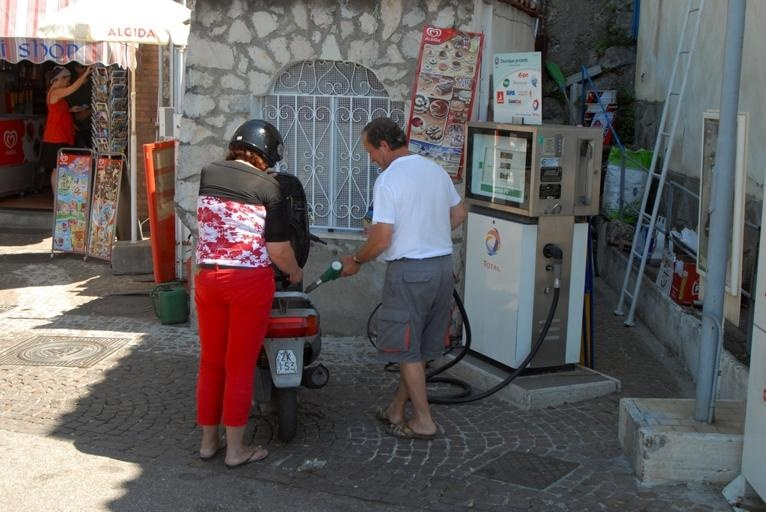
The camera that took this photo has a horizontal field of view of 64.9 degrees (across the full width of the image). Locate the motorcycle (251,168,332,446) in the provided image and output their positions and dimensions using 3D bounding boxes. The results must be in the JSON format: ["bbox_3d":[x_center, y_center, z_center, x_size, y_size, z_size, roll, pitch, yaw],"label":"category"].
[{"bbox_3d":[-1.178,0.439,5.203,0.775,2.179,1.988,1,-7,-8],"label":"motorcycle"}]

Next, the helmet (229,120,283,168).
[{"bbox_3d":[-0.981,-0.899,4.806,0.320,0.345,0.412,13,15,17],"label":"helmet"}]

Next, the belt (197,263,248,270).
[{"bbox_3d":[-1.225,0.080,4.502,0.384,0.048,0.060,3,14,9],"label":"belt"}]

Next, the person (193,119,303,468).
[{"bbox_3d":[-1.087,0.271,5.025,1.064,2.454,0.862,0,3,-11],"label":"person"}]

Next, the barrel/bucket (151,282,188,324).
[{"bbox_3d":[-2.820,0.610,7.928,0.389,0.489,0.455,-9,17,-37],"label":"barrel/bucket"}]
